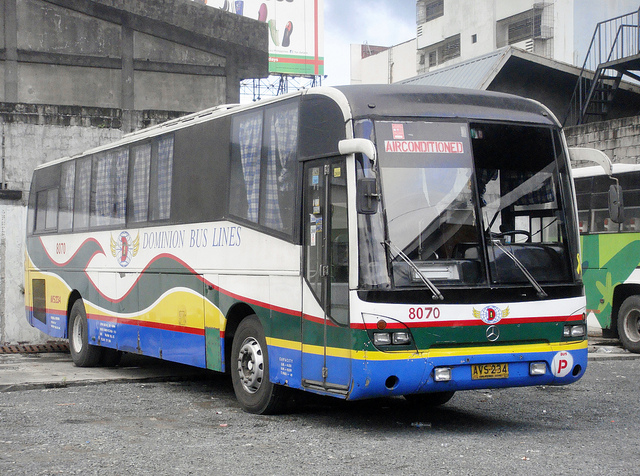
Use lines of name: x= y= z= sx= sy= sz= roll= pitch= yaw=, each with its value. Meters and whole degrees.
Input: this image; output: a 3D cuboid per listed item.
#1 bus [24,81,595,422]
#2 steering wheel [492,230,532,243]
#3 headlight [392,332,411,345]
bus: x=-2.197 y=0.333 z=12.400 sx=13.096 sy=4.879 sz=4.301 roll=1 pitch=3 yaw=33
steering wheel: x=2.358 y=-0.020 z=8.703 sx=0.618 sy=0.157 sz=0.097 roll=-2 pitch=3 yaw=-34
headlight: x=0.924 y=1.152 z=8.142 sx=0.153 sy=0.136 sz=0.040 roll=3 pitch=-9 yaw=-9
